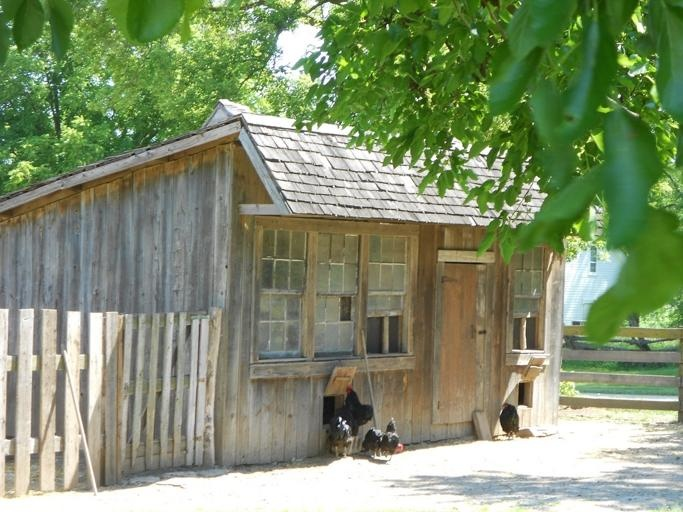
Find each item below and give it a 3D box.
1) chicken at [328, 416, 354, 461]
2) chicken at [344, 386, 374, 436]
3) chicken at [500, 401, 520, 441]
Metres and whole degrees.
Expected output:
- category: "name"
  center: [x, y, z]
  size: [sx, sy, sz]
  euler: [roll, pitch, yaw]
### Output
- category: "chicken"
  center: [-0.029, 2.728, 18.645]
  size: [0.346, 0.604, 0.654]
  euler: [-1, -7, -2]
- category: "chicken"
  center: [0.241, 2.335, 18.768]
  size: [0.238, 0.753, 0.656]
  euler: [-2, 12, -38]
- category: "chicken"
  center: [2.784, 2.759, 20.775]
  size: [0.310, 0.590, 0.454]
  euler: [-2, -7, 7]
